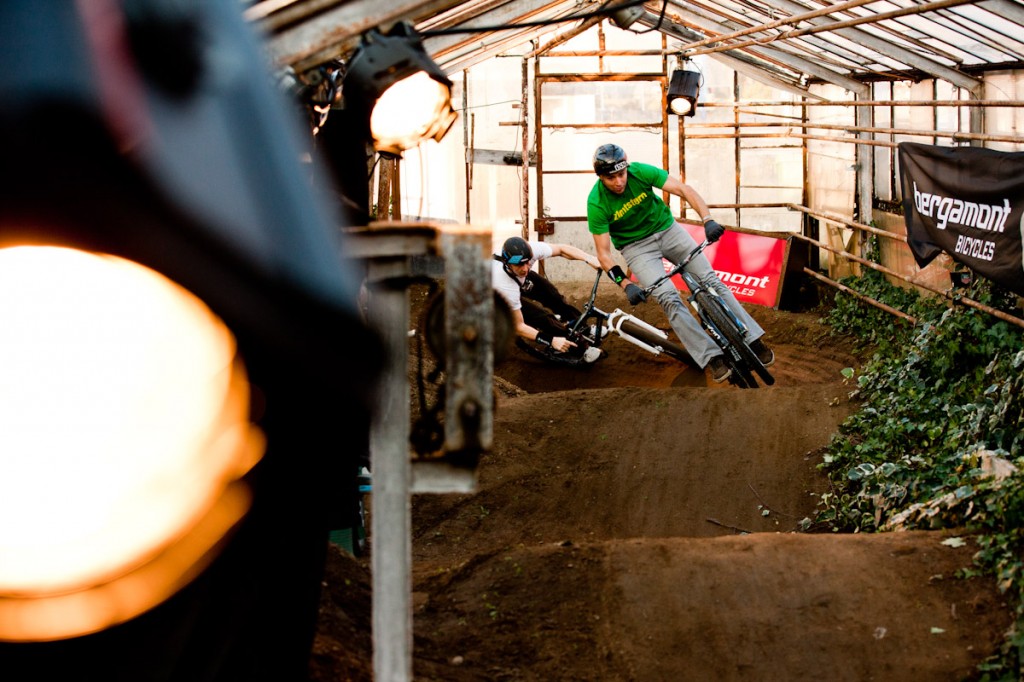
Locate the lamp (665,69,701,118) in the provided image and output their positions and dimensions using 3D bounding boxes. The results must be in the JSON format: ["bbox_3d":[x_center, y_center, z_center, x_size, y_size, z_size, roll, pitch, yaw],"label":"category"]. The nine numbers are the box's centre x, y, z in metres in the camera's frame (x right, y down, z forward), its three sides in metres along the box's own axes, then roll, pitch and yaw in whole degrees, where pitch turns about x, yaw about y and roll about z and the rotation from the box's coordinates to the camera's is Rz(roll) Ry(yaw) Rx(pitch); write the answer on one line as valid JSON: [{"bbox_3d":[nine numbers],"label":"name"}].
[{"bbox_3d":[2.426,-3.497,14.646,0.523,0.653,0.787,4,-22,7],"label":"lamp"}]

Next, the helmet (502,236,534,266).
[{"bbox_3d":[0.059,-0.938,10.671,0.222,0.260,0.298,-6,-7,-13],"label":"helmet"}]

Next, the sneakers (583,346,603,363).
[{"bbox_3d":[0.961,0.161,12.153,0.161,0.171,0.207,19,-4,21],"label":"sneakers"}]

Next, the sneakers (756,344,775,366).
[{"bbox_3d":[2.390,0.133,9.753,0.193,0.199,0.142,-4,11,-10],"label":"sneakers"}]

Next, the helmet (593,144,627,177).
[{"bbox_3d":[0.922,-1.691,9.762,0.225,0.269,0.316,-4,-21,-9],"label":"helmet"}]

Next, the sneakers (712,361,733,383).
[{"bbox_3d":[1.997,0.270,9.876,0.188,0.234,0.317,0,11,10],"label":"sneakers"}]

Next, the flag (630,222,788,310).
[{"bbox_3d":[2.330,-0.848,11.931,1.050,0.606,0.140,21,20,37],"label":"flag"}]

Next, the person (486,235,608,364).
[{"bbox_3d":[0.293,-0.452,11.118,1.326,1.113,1.393,20,-17,3],"label":"person"}]

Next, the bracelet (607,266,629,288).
[{"bbox_3d":[0.996,-0.632,9.951,0.141,0.234,0.488,-1,12,5],"label":"bracelet"}]
